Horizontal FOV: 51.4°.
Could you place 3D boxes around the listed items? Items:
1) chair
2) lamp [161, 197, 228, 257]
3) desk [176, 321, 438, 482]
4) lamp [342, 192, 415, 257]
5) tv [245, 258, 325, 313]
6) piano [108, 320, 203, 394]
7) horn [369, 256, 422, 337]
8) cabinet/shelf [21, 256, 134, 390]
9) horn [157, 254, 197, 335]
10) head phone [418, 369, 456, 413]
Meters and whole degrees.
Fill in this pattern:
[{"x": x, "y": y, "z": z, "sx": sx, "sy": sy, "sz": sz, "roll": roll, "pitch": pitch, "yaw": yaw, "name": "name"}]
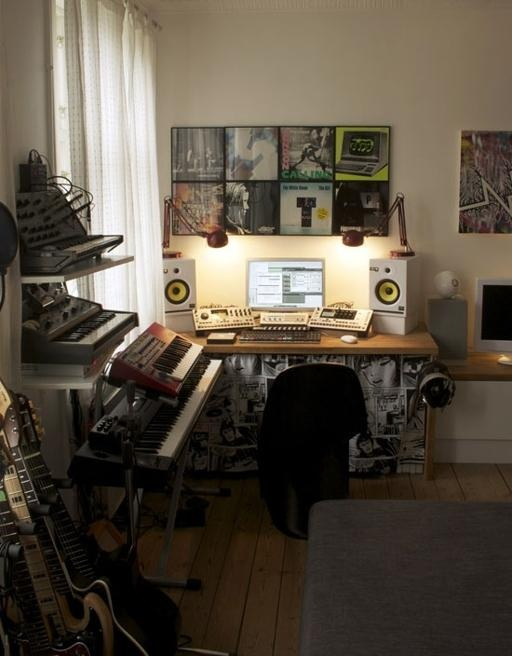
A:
[{"x": 0.154, "y": 0.390, "z": 1.961, "sx": 0.352, "sy": 0.627, "sz": 0.353, "roll": 12, "pitch": 17, "yaw": 42, "name": "chair"}, {"x": -0.414, "y": -0.671, "z": 3.473, "sx": 0.370, "sy": 0.379, "sz": 0.202, "roll": 4, "pitch": 14, "yaw": 11, "name": "lamp"}, {"x": 0.344, "y": 0.519, "z": 3.247, "sx": 1.785, "sy": 1.017, "sz": 0.703, "roll": 0, "pitch": 6, "yaw": 1, "name": "desk"}, {"x": 0.799, "y": -0.647, "z": 3.400, "sx": 0.440, "sy": 0.438, "sz": 0.230, "roll": 5, "pitch": 13, "yaw": 9, "name": "lamp"}, {"x": 0.191, "y": -0.291, "z": 3.410, "sx": 0.498, "sy": 0.328, "sz": 0.027, "roll": -3, "pitch": 2, "yaw": 4, "name": "tv"}, {"x": -0.424, "y": 0.138, "z": 2.315, "sx": 0.245, "sy": 0.110, "sz": 0.474, "roll": 17, "pitch": 21, "yaw": -2, "name": "piano"}, {"x": 0.863, "y": -0.207, "z": 3.288, "sx": 0.250, "sy": 0.520, "sz": 0.237, "roll": 7, "pitch": 12, "yaw": 27, "name": "horn"}, {"x": -0.635, "y": -0.008, "z": 1.851, "sx": 0.312, "sy": 0.451, "sz": 0.433, "roll": 3, "pitch": 11, "yaw": 2, "name": "cabinet/shelf"}, {"x": -0.469, "y": -0.207, "z": 3.232, "sx": 0.189, "sy": 0.459, "sz": 0.146, "roll": 1, "pitch": 14, "yaw": -6, "name": "horn"}, {"x": 0.949, "y": 0.323, "z": 2.795, "sx": 0.155, "sy": 0.200, "sz": 0.177, "roll": 2, "pitch": 2, "yaw": 13, "name": "head phone"}]
